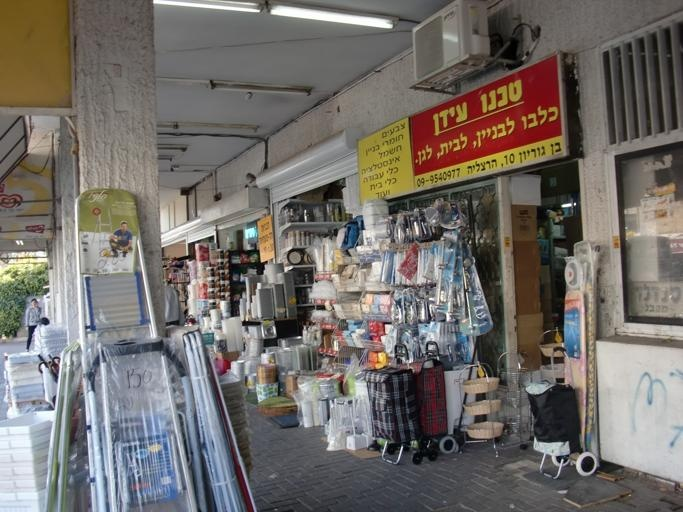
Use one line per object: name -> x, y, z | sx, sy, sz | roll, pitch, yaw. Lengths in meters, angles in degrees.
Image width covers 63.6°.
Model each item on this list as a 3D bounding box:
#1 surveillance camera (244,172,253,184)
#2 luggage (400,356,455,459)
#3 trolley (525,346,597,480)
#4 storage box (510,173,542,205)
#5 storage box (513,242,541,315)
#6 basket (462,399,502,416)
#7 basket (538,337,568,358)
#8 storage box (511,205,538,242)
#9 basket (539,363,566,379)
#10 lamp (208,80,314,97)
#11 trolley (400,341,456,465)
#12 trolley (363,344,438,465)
surveillance camera -> -1.969, -1.658, 11.701 | 0.261, 0.120, 0.284 | -1, -36, 7
luggage -> 0.893, 1.549, 5.710 | 0.443, 0.895, 0.483 | 2, 3, -21
trolley -> 2.032, 1.583, 5.035 | 0.567, 0.818, 0.392 | -4, 7, 4
storage box -> 2.146, -0.772, 6.460 | 0.380, 0.335, 0.120 | 1, -3, -36
storage box -> 2.178, 0.256, 6.441 | 0.479, 0.861, 0.148 | -9, 8, -36
basket -> 1.415, 1.514, 5.544 | 0.327, 0.128, 0.235 | -5, 7, 0
basket -> 2.241, 0.995, 5.815 | 0.268, 0.149, 0.342 | 0, -14, -1
storage box -> 2.161, -0.383, 6.468 | 0.459, 0.440, 0.125 | -10, 9, -40
basket -> 2.292, 1.257, 5.986 | 0.284, 0.120, 0.318 | 0, -5, -3
lamp -> -1.250, -2.627, 8.666 | 1.643, 0.201, 0.495 | -7, 7, -15
trolley -> 1.004, 1.495, 5.765 | 0.451, 0.954, 0.400 | 0, -11, -18
trolley -> 0.628, 1.521, 5.646 | 0.545, 1.026, 0.616 | 1, 3, -23
